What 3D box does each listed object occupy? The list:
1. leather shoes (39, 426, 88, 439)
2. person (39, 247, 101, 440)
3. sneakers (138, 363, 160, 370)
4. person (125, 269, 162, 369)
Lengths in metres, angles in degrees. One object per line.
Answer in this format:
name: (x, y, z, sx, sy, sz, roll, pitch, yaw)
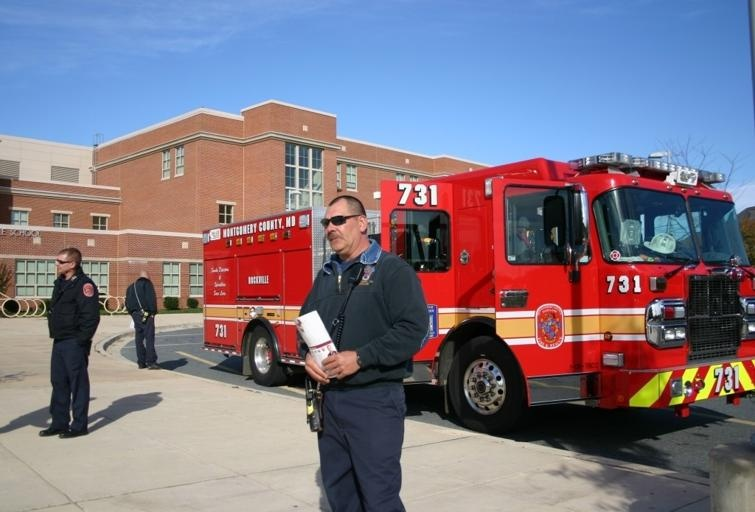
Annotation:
leather shoes: (-4.376, 2.454, 8.451, 0.601, 0.228, 0.211, 8, -21, -11)
person: (-4.402, 1.194, 8.653, 0.725, 2.607, 0.674, 0, 0, -37)
sneakers: (-5.373, 2.593, 14.318, 0.492, 0.203, 0.180, 0, -4, -1)
person: (-5.643, 1.508, 14.549, 0.754, 2.235, 0.986, 0, 0, -22)
